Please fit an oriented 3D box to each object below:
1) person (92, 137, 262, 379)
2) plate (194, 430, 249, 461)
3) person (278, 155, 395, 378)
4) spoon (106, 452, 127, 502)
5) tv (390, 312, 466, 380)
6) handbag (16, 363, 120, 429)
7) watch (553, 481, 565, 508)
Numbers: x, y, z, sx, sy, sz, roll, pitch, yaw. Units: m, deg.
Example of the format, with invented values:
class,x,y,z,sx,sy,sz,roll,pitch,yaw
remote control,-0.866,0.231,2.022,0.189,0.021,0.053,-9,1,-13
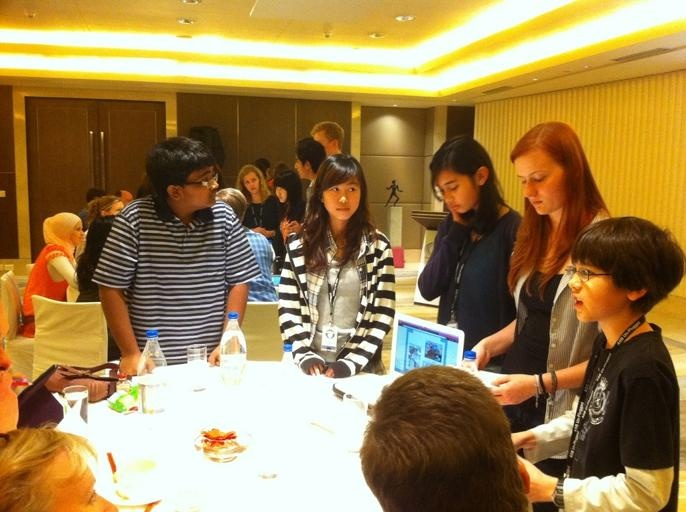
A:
class,x,y,z,sx,sy,sz,roll,pitch,yaw
person,-0.801,-0.034,2.658,0.738,1.041,0.393,-13,19,-39
plate,-0.399,0.635,1.829,0.145,0.057,0.096,0,15,3
person,-0.032,0.050,2.539,0.540,0.995,0.591,1,15,4
spoon,-0.679,0.674,1.659,0.016,0.020,0.139,11,35,-37
tv,0.355,0.343,2.197,0.300,0.239,0.205,14,23,34
handbag,-1.024,0.506,2.111,0.231,0.149,0.408,7,5,18
watch,0.620,0.697,1.588,0.031,0.091,0.037,3,15,14
